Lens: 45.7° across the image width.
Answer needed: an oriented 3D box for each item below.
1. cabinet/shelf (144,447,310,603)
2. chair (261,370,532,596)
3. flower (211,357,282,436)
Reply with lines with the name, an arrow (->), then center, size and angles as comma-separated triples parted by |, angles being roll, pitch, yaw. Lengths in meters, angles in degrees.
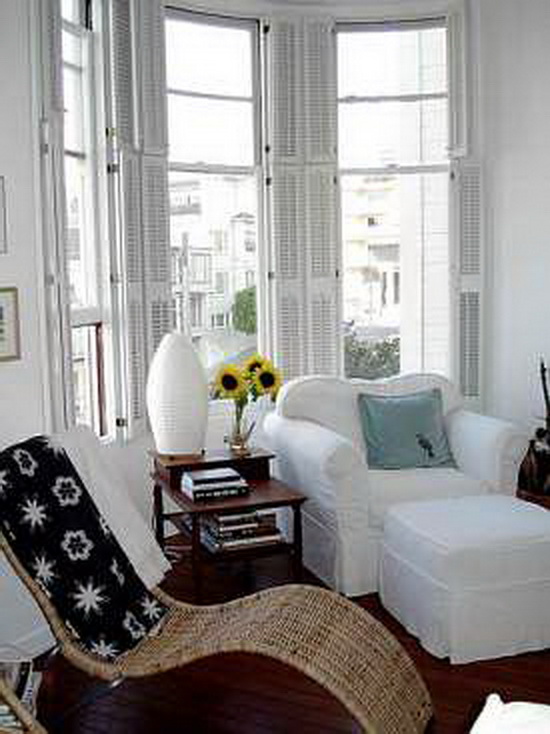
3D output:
cabinet/shelf -> -0.206, 0.563, 2.643 | 0.481, 0.459, 0.673 | -1, 3, -20
chair -> 0.495, 0.444, 2.999 | 1.153, 0.937, 0.859 | -1, -1, -20
flower -> -0.143, 0.149, 3.156 | 0.377, 0.400, 0.184 | -13, 22, -39
